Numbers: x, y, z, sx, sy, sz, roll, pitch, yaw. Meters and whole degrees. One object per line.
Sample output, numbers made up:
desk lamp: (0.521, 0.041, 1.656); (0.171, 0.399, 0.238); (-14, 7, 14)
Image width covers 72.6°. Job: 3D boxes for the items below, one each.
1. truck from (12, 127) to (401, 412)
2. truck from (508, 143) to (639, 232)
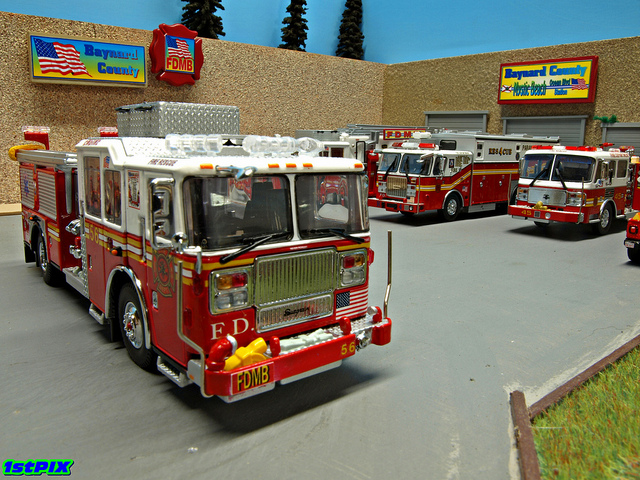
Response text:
truck: (-2.335, -0.129, 7.055); (3.071, 2.703, 6.836); (-9, 18, -37)
truck: (9.129, -1.862, 15.257); (4.711, 2.120, 2.339); (-9, 12, -42)
